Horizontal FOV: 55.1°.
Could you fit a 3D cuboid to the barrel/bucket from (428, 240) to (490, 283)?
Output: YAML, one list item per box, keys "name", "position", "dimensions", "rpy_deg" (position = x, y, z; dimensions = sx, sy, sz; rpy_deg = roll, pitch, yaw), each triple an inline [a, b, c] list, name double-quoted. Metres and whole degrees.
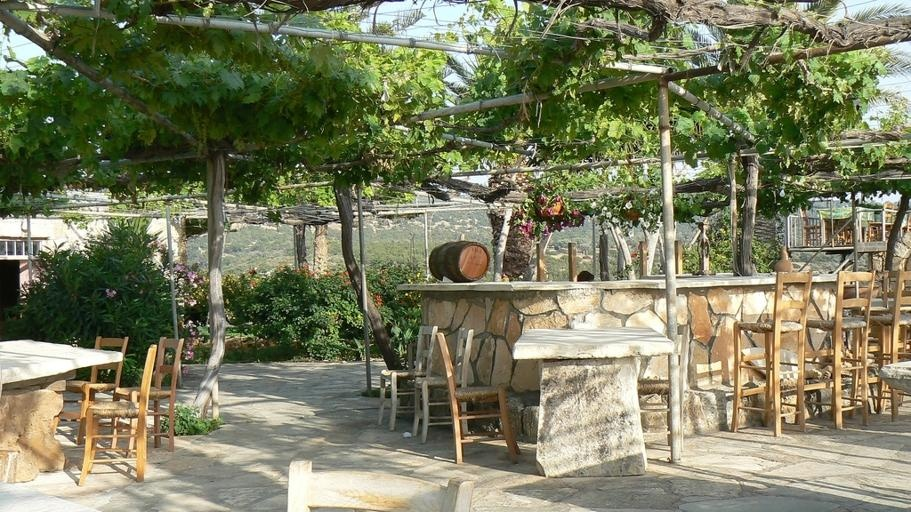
- name: "barrel/bucket"
  position: [0.033, 0.081, 12.557]
  dimensions: [0.882, 0.623, 0.608]
  rpy_deg: [-1, -3, 11]

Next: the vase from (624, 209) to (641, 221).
- name: "vase"
  position: [3.391, -0.787, 16.717]
  dimensions: [0.257, 0.224, 0.241]
  rpy_deg: [1, 0, 13]

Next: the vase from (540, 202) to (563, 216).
- name: "vase"
  position: [1.708, -0.826, 15.208]
  dimensions: [0.294, 0.242, 0.412]
  rpy_deg: [-2, -4, 21]

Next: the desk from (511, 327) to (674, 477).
- name: "desk"
  position: [1.730, 1.720, 10.411]
  dimensions: [1.811, 1.409, 1.738]
  rpy_deg: [-1, -4, 14]
